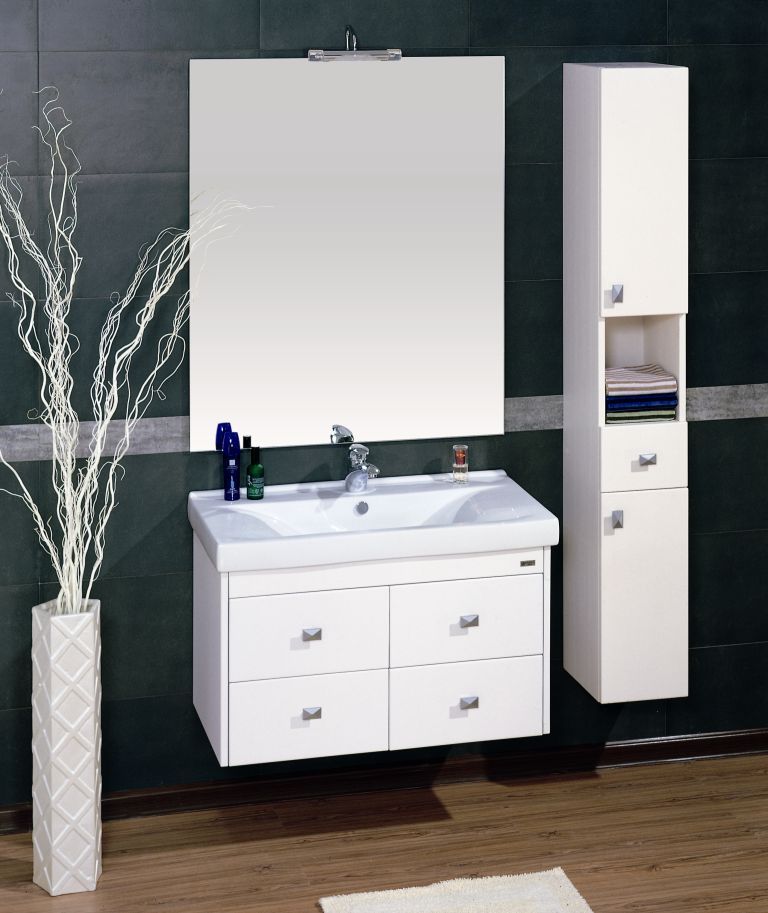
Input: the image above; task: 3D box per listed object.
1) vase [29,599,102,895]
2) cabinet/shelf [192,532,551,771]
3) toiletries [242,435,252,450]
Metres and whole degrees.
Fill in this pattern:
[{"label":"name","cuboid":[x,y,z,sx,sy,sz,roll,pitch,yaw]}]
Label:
[{"label":"vase","cuboid":[-0.784,0.718,2.387,0.176,0.712,0.184,-2,6,-21]},{"label":"cabinet/shelf","cuboid":[-0.034,0.476,2.658,0.871,0.566,0.493,-2,6,-14]},{"label":"toiletries","cuboid":[-0.386,-0.040,2.723,0.031,0.060,0.032,-2,11,-11]}]
